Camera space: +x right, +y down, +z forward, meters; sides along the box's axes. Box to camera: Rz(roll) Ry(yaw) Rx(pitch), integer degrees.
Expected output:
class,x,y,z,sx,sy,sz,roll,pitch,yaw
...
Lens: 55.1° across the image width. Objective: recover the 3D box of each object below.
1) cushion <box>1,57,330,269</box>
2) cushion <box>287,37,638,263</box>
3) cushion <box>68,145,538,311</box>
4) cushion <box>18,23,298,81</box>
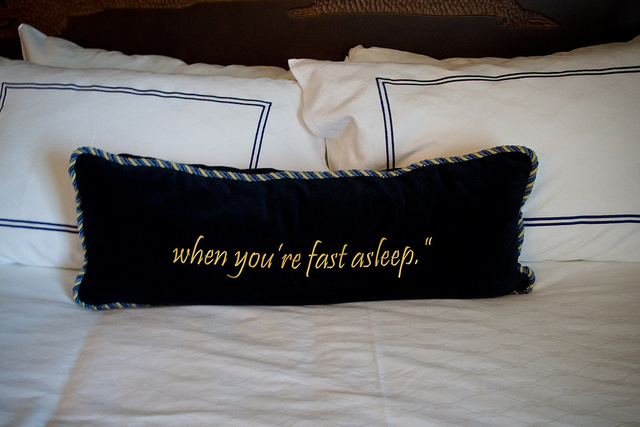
class,x,y,z,sx,sy,sz,roll,pitch,yaw
cushion,-0.523,-0.147,1.670,1.005,0.560,0.262,0,-2,-8
cushion,0.508,-0.162,1.693,0.967,0.598,0.280,-1,-3,3
cushion,-0.053,0.058,1.604,1.168,0.422,0.176,-1,16,3
cushion,-0.536,-0.512,2.151,0.208,0.118,1.117,2,6,36
